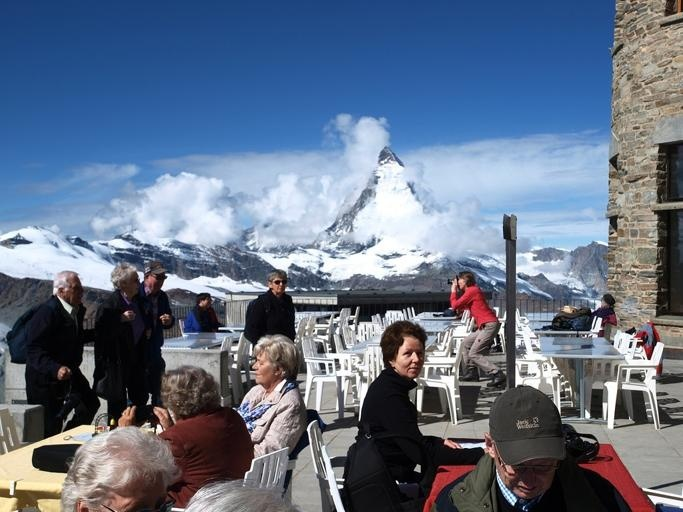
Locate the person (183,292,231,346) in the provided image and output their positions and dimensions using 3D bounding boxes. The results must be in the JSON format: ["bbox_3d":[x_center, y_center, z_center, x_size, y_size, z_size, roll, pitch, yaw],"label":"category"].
[{"bbox_3d":[-2.422,1.098,12.337,0.649,1.244,0.883,-4,-2,22],"label":"person"}]

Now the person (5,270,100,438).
[{"bbox_3d":[-2.576,0.867,6.226,0.744,1.450,0.432,-1,-5,-25],"label":"person"}]

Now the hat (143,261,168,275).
[{"bbox_3d":[-2.038,0.137,7.466,0.218,0.119,0.148,-12,-10,19],"label":"hat"}]

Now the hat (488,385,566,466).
[{"bbox_3d":[0.842,0.768,3.177,0.323,0.339,0.158,-4,-5,8],"label":"hat"}]

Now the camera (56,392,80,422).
[{"bbox_3d":[-2.410,1.324,6.215,0.156,0.242,0.140,8,-26,47],"label":"camera"}]

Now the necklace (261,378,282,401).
[{"bbox_3d":[-0.509,1.021,5.148,0.093,0.114,0.180,-12,-38,-9],"label":"necklace"}]
